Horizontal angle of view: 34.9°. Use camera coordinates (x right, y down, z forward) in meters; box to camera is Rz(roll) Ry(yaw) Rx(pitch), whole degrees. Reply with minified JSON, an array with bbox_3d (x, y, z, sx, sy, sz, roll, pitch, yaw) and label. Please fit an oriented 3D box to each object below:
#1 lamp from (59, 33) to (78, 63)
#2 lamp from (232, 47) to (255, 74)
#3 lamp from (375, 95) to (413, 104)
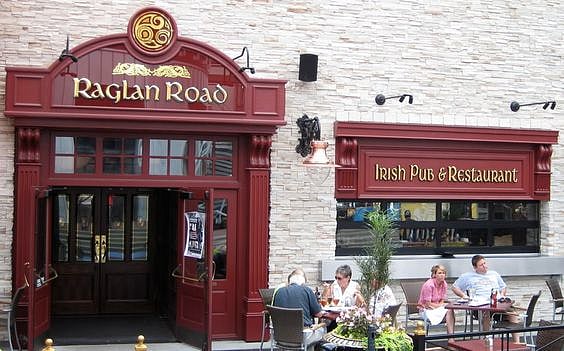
[{"bbox_3d":[-4.888,-2.886,20.360,0.438,0.599,0.487,-2,-4,9],"label":"lamp"},{"bbox_3d":[-0.892,-2.708,21.061,0.531,0.717,0.811,-1,-4,-2],"label":"lamp"},{"bbox_3d":[2.710,-1.840,21.837,0.914,0.261,0.579,-1,-3,7],"label":"lamp"}]
